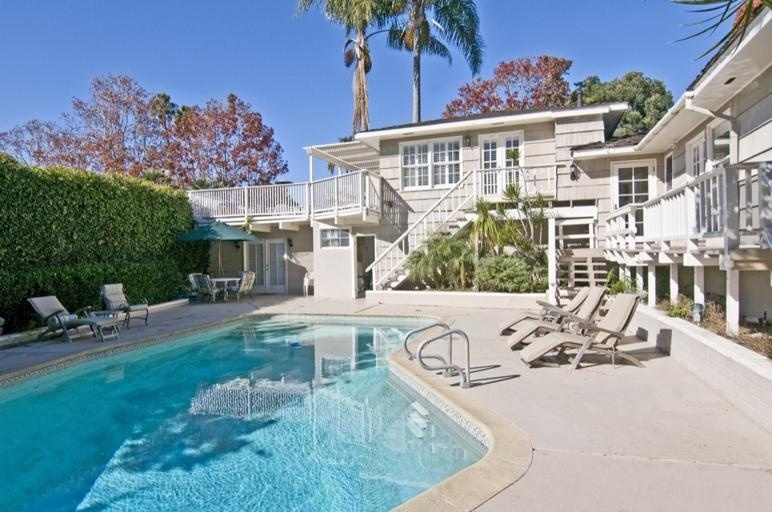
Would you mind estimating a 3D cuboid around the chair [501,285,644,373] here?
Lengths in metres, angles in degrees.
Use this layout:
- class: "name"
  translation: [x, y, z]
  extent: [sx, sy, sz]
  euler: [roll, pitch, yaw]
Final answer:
- class: "chair"
  translation: [4.287, 1.774, 13.432]
  extent: [2.338, 1.696, 1.611]
  euler: [-2, -2, -1]
